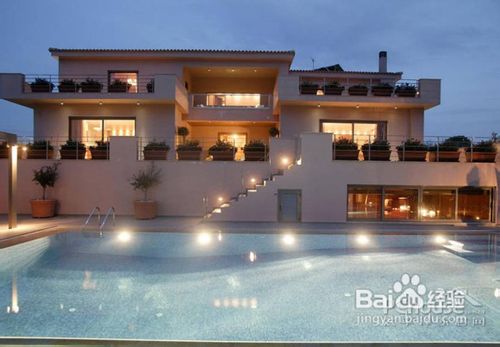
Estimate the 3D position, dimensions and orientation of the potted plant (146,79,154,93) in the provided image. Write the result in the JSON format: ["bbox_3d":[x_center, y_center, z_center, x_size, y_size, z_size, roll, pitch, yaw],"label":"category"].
[{"bbox_3d":[-7.793,-6.967,43.967,0.880,1.047,0.323,1,-1,32],"label":"potted plant"}]
